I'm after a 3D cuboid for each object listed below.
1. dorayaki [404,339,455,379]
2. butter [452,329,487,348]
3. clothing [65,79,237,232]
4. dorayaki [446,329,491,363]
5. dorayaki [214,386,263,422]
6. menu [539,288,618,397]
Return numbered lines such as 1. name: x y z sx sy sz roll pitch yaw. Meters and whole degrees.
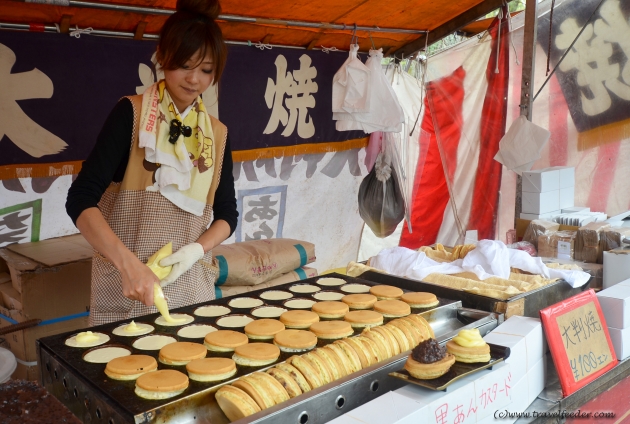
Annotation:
1. dorayaki: 0.449 0.574 1.893 0.156 0.086 0.148 -2 2 0
2. butter: 0.648 0.524 1.974 0.075 0.037 0.082 -2 3 -36
3. clothing: -0.829 -0.429 2.553 0.615 0.211 0.601 11 -21 -18
4. dorayaki: 0.640 0.536 1.943 0.137 0.081 0.131 -1 0 -21
5. dorayaki: -0.291 0.730 1.772 0.201 0.142 0.071 8 6 37
6. menu: 1.261 0.637 2.254 0.442 0.307 0.048 -17 -2 -35
